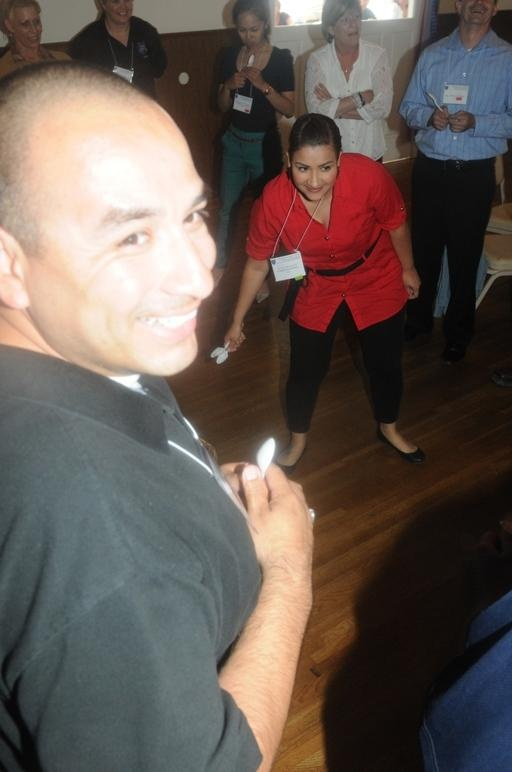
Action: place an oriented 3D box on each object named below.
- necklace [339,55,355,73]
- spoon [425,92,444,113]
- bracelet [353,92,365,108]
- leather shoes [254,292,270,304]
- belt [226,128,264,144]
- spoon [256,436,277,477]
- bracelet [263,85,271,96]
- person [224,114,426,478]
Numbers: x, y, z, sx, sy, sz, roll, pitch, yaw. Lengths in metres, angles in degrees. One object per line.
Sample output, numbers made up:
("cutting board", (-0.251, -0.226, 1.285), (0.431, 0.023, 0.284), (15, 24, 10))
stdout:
("necklace", (0.559, -1.998, 3.631), (0.079, 0.080, 0.025), (14, 35, 9))
("spoon", (0.949, -1.507, 3.114), (0.048, 0.031, 0.181), (-6, 79, -40))
("bracelet", (0.642, -1.787, 3.669), (0.068, 0.094, 0.103), (-3, -2, 5))
("leather shoes", (0.044, -0.639, 4.213), (0.044, 0.051, 0.131), (8, 56, 22))
("belt", (-0.093, -1.729, 4.121), (0.184, 0.066, 0.138), (12, 45, 9))
("spoon", (0.020, 0.118, 1.002), (0.012, 0.083, 0.025), (4, 6, -34))
("bracelet", (0.074, -1.906, 3.792), (0.035, 0.047, 0.025), (3, 75, 0))
("person", (0.247, -0.329, 2.385), (0.806, 1.499, 0.475), (-15, 40, -4))
